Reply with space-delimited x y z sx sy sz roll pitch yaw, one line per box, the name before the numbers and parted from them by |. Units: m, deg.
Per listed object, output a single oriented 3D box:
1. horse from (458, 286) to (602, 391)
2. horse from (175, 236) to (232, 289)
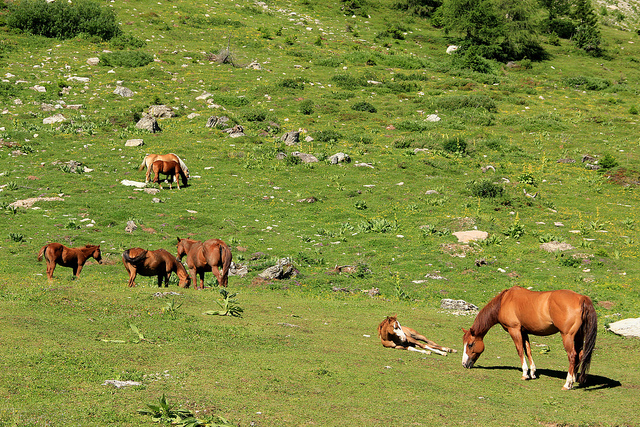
horse | 15.355 9.003 87.549 11.377 6.781 3.200 -1 0 42
horse | -8.943 3.837 92.737 2.369 3.981 6.852 2 -6 -39
